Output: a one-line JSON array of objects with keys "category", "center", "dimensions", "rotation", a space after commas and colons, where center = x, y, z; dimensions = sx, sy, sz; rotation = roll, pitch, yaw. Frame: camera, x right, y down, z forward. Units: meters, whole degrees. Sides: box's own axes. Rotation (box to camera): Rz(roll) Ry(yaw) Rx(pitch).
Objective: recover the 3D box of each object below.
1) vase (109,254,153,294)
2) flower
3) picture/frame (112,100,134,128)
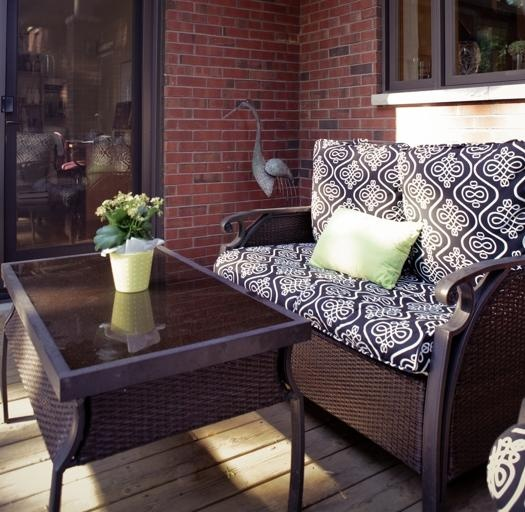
[{"category": "vase", "center": [-0.423, 0.053, 1.454], "dimensions": [0.140, 0.101, 0.130], "rotation": [0, 1, 39]}, {"category": "flower", "center": [-0.459, -0.130, 1.573], "dimensions": [0.214, 0.178, 0.305], "rotation": [-2, 12, -13]}, {"category": "picture/frame", "center": [-1.033, -1.037, 3.345], "dimensions": [0.189, 0.189, 0.047], "rotation": [-3, 11, -43]}]
